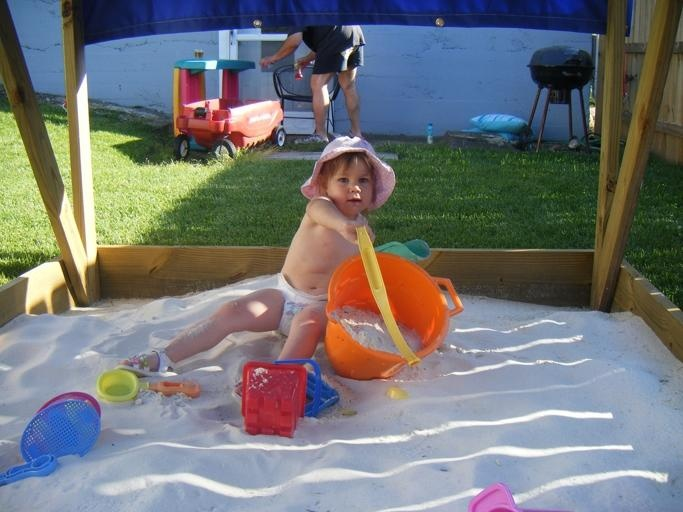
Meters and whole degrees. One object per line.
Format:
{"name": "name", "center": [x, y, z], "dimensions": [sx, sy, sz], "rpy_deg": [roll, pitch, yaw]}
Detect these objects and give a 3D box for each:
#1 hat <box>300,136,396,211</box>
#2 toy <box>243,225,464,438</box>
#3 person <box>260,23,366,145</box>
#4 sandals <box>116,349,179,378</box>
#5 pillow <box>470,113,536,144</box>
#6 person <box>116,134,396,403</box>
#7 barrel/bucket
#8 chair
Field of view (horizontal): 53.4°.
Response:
{"name": "hat", "center": [0.068, -0.402, 3.215], "dimensions": [0.336, 0.357, 0.221], "rpy_deg": [4, 16, -2]}
{"name": "toy", "center": [0.031, 0.345, 2.963], "dimensions": [0.815, 0.826, 0.984], "rpy_deg": [-1, 13, -10]}
{"name": "person", "center": [-0.179, -1.510, 6.141], "dimensions": [0.678, 1.123, 0.651], "rpy_deg": [14, 24, 33]}
{"name": "sandals", "center": [-0.801, 0.448, 2.808], "dimensions": [0.234, 0.115, 0.090], "rpy_deg": [15, -6, -27]}
{"name": "pillow", "center": [1.711, -1.387, 7.172], "dimensions": [0.590, 0.411, 0.435], "rpy_deg": [16, 20, 42]}
{"name": "person", "center": [-0.185, -0.014, 3.034], "dimensions": [0.765, 1.265, 0.515], "rpy_deg": [1, 8, 1]}
{"name": "barrel/bucket", "center": [0.211, 0.238, 2.953], "dimensions": [0.600, 0.628, 0.752], "rpy_deg": [3, 15, 5]}
{"name": "chair", "center": [-0.440, -1.940, 8.424], "dimensions": [0.758, 1.301, 0.770], "rpy_deg": [0, 21, -5]}
